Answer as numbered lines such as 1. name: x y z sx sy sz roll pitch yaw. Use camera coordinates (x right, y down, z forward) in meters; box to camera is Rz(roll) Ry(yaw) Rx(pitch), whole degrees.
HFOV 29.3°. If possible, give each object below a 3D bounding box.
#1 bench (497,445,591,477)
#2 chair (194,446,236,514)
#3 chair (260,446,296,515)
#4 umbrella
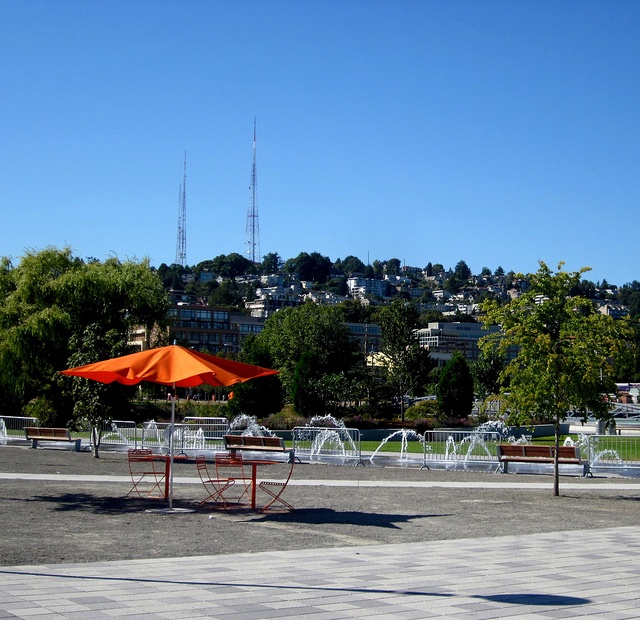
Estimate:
1. bench: 5.475 3.595 29.860 1.478 0.678 2.714 4 -8 -30
2. chair: -2.011 3.263 23.755 0.571 0.996 0.531 -7 2 10
3. chair: -0.791 3.182 22.910 0.699 1.184 0.650 2 -9 -15
4. umbrella: -2.699 2.126 22.378 2.686 2.989 2.828 -2 -5 34
